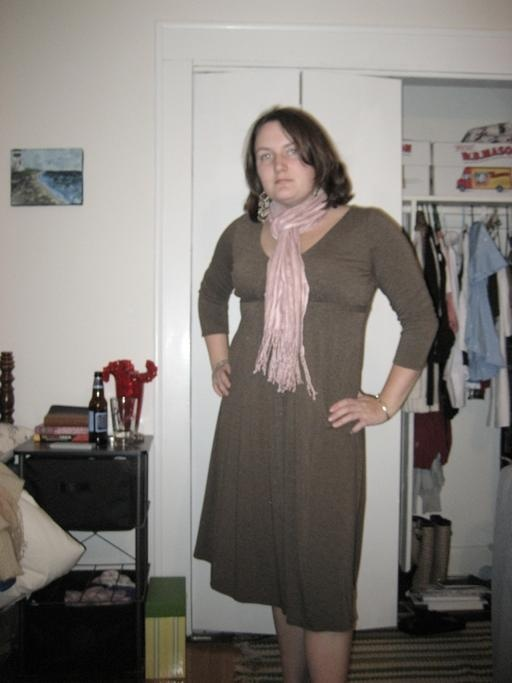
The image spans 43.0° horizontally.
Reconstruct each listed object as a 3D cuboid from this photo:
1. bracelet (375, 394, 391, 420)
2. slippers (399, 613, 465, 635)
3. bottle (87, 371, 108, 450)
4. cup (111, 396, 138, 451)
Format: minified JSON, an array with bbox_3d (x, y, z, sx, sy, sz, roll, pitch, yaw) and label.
[{"bbox_3d":[0.313,0.162,1.624,0.039,0.068,0.024,-2,-3,-28],"label":"bracelet"},{"bbox_3d":[0.631,1.032,2.371,0.114,0.036,0.097,-3,-2,3],"label":"slippers"},{"bbox_3d":[-0.515,0.222,2.137,0.065,0.212,0.202,2,14,-15],"label":"bottle"},{"bbox_3d":[-0.424,0.262,2.145,0.076,0.162,0.088,1,1,15],"label":"cup"}]
